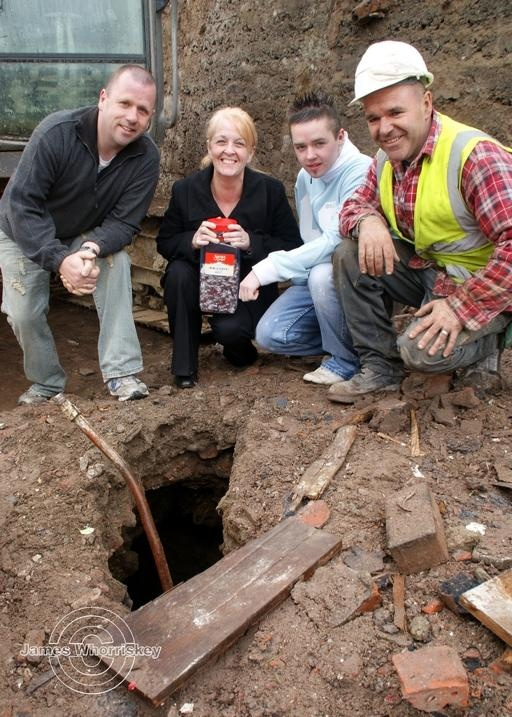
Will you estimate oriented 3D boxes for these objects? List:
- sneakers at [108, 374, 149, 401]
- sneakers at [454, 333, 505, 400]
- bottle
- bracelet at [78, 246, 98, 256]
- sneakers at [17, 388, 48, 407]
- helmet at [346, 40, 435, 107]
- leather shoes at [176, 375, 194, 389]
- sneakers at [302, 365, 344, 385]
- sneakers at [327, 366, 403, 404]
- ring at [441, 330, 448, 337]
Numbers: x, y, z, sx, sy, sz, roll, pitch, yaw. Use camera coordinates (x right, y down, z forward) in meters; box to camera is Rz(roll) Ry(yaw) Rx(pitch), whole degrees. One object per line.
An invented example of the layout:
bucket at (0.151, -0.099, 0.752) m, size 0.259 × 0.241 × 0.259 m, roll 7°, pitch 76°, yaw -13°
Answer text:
sneakers at (-0.746, 0.170, 3.360) m, size 0.118 × 0.100 × 0.240 m, roll -13°, pitch 10°, yaw -38°
sneakers at (1.080, 0.047, 2.850) m, size 0.219 × 0.308 × 0.143 m, roll 16°, pitch -5°, yaw -8°
bottle at (-0.229, -0.523, 3.452) m, size 0.253 × 0.569 × 0.245 m, roll -3°, pitch 21°, yaw 1°
bracelet at (-0.861, -0.543, 2.989) m, size 0.070 × 0.030 × 0.079 m, roll 29°, pitch 4°, yaw -4°
sneakers at (-1.288, 0.219, 3.354) m, size 0.098 × 0.076 × 0.177 m, roll -1°, pitch -5°, yaw 2°
helmet at (0.567, -1.182, 2.380) m, size 0.309 × 0.162 × 0.232 m, roll -21°, pitch 18°, yaw -21°
leather shoes at (-0.430, 0.137, 3.516) m, size 0.125 × 0.067 × 0.116 m, roll -7°, pitch 21°, yaw -10°
sneakers at (0.388, 0.096, 3.310) m, size 0.184 × 0.073 × 0.104 m, roll 6°, pitch 10°, yaw 27°
sneakers at (0.541, 0.142, 3.044) m, size 0.437 × 0.173 × 0.151 m, roll -6°, pitch 16°, yaw -7°
ring at (0.773, -0.103, 2.394) m, size 0.022 × 0.020 × 0.021 m, roll 14°, pitch 11°, yaw -3°
